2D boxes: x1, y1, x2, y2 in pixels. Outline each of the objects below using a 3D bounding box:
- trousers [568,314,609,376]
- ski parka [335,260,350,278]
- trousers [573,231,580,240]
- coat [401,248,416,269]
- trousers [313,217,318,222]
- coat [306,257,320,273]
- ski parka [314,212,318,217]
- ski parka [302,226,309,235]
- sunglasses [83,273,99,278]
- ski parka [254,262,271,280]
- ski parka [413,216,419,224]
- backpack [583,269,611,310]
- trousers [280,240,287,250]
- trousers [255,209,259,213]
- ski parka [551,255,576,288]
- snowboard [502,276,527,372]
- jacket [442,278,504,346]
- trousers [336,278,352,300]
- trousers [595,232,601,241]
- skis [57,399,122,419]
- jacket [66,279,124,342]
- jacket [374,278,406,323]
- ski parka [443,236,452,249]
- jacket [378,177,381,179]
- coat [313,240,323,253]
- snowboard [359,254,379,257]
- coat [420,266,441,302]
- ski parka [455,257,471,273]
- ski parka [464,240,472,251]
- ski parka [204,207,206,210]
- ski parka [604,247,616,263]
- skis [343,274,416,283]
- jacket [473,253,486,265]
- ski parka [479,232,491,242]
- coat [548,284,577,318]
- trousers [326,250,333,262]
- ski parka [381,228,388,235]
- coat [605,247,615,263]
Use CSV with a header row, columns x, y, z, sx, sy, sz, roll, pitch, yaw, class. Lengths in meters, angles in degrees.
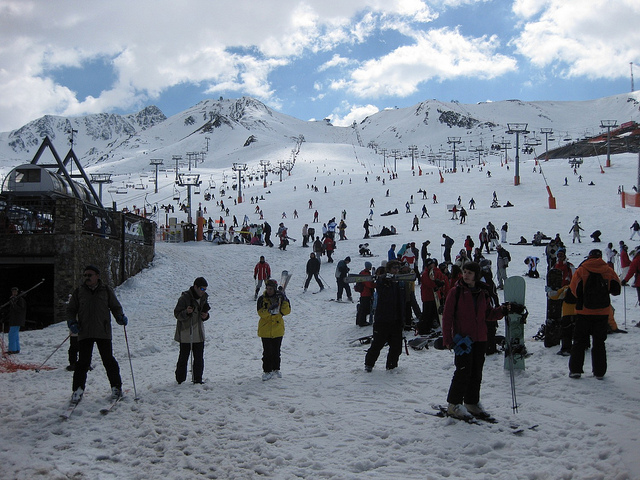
x,y,z,sx,sy,sz,roll,pitch,yaw,class
5.519,1.999,12.153,0.695,1.694,0.500,2,14,17,trousers
0.735,1.042,21.383,0.508,0.624,0.494,-4,6,-10,ski parka
12.646,-0.212,29.278,0.394,0.500,0.173,-2,-4,6,trousers
3.072,0.653,20.706,0.556,0.884,0.285,2,-12,-3,coat
-0.378,-1.610,46.218,0.416,0.570,0.176,1,-13,13,trousers
-0.291,1.054,23.957,0.737,0.893,0.471,0,-3,1,coat
-0.306,-1.992,45.514,0.270,0.425,0.242,0,-1,-11,ski parka
-0.874,-0.539,35.121,0.321,0.580,0.497,-2,3,-5,ski parka
-4.592,0.703,11.830,0.221,0.094,0.092,-3,8,-9,sunglasses
-2.281,1.242,23.192,0.787,0.824,0.353,-3,-18,7,ski parka
5.710,-1.222,35.588,0.285,0.122,0.401,-8,24,-1,ski parka
5.567,1.009,11.974,0.482,0.762,0.319,1,8,20,backpack
-2.093,0.260,33.430,0.352,0.544,0.347,-5,8,-19,trousers
-5.927,-2.697,55.361,0.305,0.325,0.082,-2,-23,-1,trousers
5.857,0.777,14.366,0.253,0.645,0.526,30,-25,-15,ski parka
4.248,1.910,13.040,0.265,1.998,0.461,1,-7,-5,snowboard
2.666,1.475,11.420,1.243,1.473,1.115,5,-13,-26,jacket
0.857,1.777,21.786,0.486,0.948,1.012,-1,8,4,trousers
10.273,-0.126,21.931,0.080,0.372,0.257,17,17,-4,trousers
-4.585,3.384,11.734,0.170,0.127,1.617,4,-3,23,skis
-4.410,1.433,11.820,0.836,1.114,0.546,-5,8,-18,jacket
1.519,1.352,13.163,0.876,1.197,0.621,5,-10,-24,jacket
5.699,0.137,26.536,0.251,0.461,0.572,-1,8,10,ski parka
7.591,-8.072,76.559,0.461,0.201,0.636,-1,2,-20,jacket
-0.135,0.333,28.883,0.402,0.646,0.536,-2,8,1,coat
2.447,0.813,29.685,0.942,0.099,0.477,-1,8,8,snowboard
2.971,1.207,15.909,0.572,1.017,0.811,-8,6,-3,coat
3.399,0.600,14.207,0.193,0.282,0.611,-2,-14,-2,ski parka
6.442,0.240,25.889,0.442,0.282,0.353,22,9,-7,ski parka
-12.089,-3.238,61.896,0.196,0.375,0.203,0,8,6,ski parka
10.830,0.572,22.142,0.322,0.470,0.472,-21,17,-6,ski parka
1.367,0.876,13.500,1.559,0.276,0.248,-3,19,13,skis
4.917,0.592,18.433,0.165,0.150,0.485,-17,15,7,jacket
7.953,-0.134,28.322,0.606,0.649,0.387,-3,-1,-7,ski parka
5.290,1.323,13.125,0.540,0.831,0.492,-3,7,12,coat
0.457,0.798,29.833,0.315,0.606,0.528,-2,8,-2,trousers
3.887,-0.530,36.035,0.390,0.348,0.403,-2,8,0,ski parka
10.806,0.574,22.072,0.273,0.505,0.501,-9,10,-4,coat
